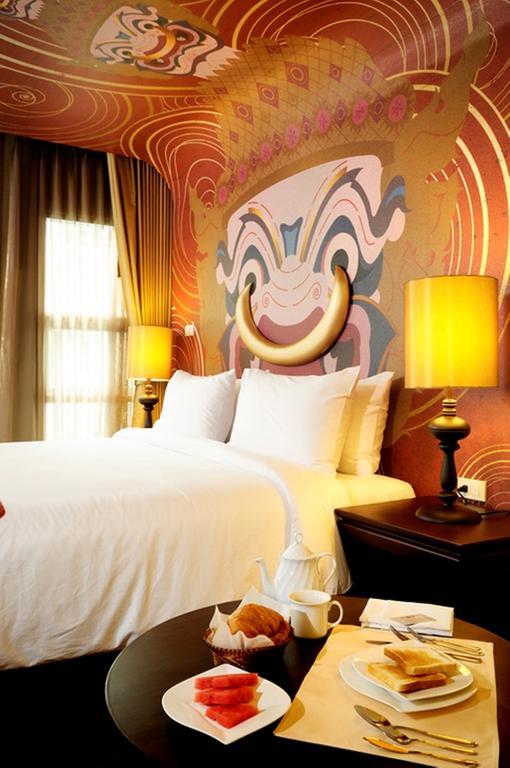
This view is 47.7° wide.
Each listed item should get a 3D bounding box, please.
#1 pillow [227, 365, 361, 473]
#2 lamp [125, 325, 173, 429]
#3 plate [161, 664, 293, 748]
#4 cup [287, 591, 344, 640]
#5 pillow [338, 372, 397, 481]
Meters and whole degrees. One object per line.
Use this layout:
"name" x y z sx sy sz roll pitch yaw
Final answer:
"pillow" 0.163 0.148 2.260 0.137 0.264 0.389 13 -11 -35
"lamp" -0.768 0.005 4.139 0.310 0.794 0.286 2 -2 -18
"plate" -0.040 0.421 0.766 0.153 0.014 0.150 -1 5 -40
"cup" 0.110 0.410 1.038 0.091 0.071 0.074 2 -9 1
"pillow" 0.448 0.084 2.385 0.142 0.357 0.404 -8 20 -5
